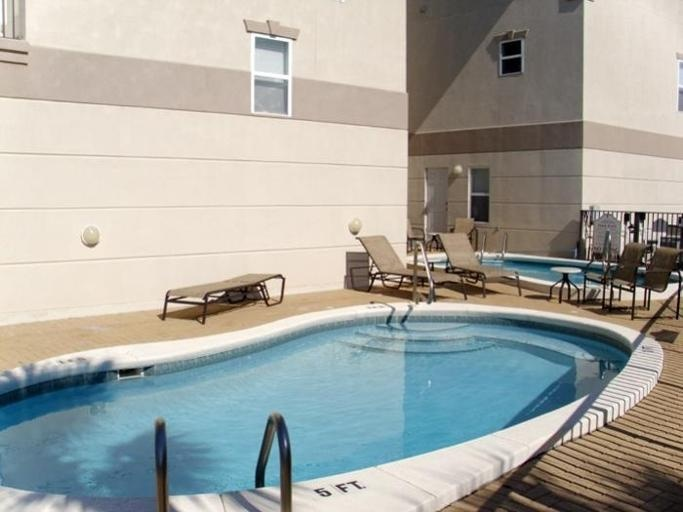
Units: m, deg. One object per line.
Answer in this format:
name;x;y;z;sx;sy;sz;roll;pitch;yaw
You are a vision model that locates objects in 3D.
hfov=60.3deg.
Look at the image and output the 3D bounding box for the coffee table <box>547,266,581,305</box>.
coffee table;4.699;0.587;12.485;0.586;0.750;0.618;-9;13;-21
